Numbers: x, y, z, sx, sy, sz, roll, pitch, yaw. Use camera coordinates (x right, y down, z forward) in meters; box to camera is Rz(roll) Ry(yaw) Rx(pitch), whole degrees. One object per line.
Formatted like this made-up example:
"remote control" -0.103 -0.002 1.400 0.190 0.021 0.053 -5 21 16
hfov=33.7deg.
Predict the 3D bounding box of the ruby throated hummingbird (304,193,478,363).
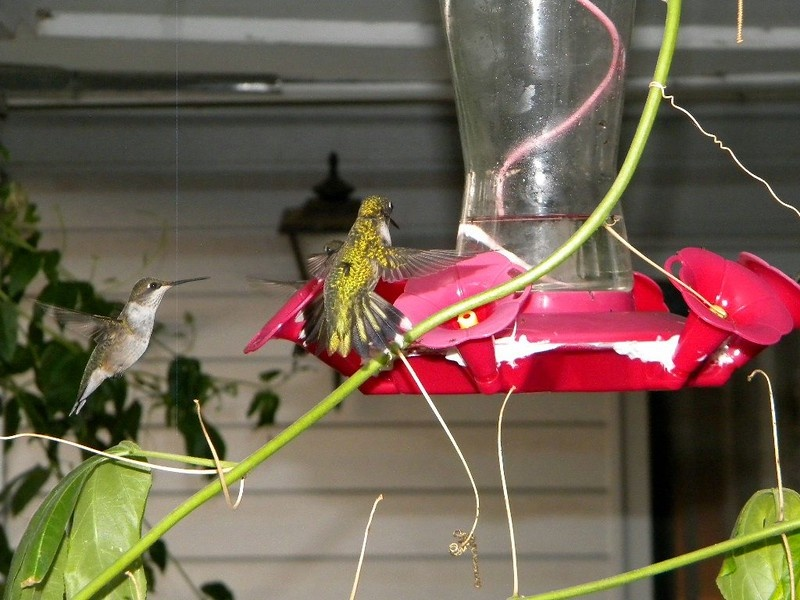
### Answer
"ruby throated hummingbird" -0.037 -0.059 2.510 0.351 0.271 0.256 0 -67 1

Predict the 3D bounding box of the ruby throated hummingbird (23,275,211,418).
"ruby throated hummingbird" -0.639 0.098 2.922 0.333 0.253 0.318 -11 4 -33
